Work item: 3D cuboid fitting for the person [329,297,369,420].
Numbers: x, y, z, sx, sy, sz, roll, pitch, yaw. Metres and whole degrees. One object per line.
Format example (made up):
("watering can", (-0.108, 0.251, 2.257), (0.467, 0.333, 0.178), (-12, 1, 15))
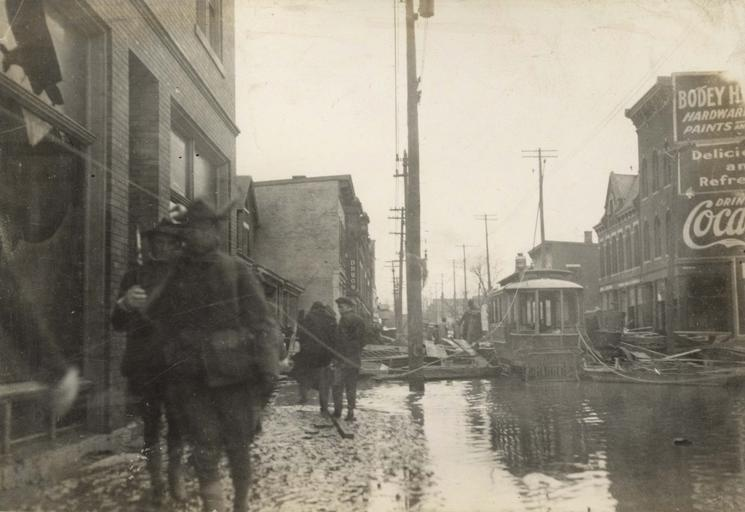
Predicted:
("person", (-0.417, 1.595, 13.465), (0.487, 1.995, 0.983), (1, 4, 14))

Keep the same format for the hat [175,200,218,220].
("hat", (-1.920, -0.478, 9.035), (0.380, 0.149, 0.291), (-1, -1, 6))
